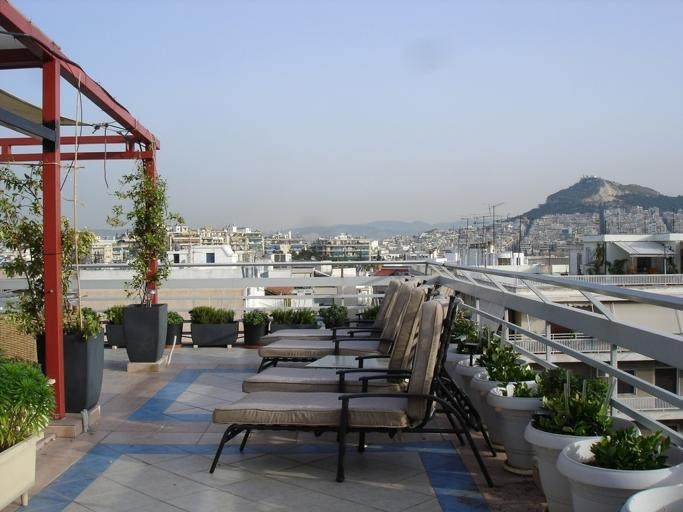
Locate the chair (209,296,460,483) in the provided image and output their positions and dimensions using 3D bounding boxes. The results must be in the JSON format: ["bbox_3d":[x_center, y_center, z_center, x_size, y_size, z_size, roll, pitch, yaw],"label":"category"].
[{"bbox_3d":[0.062,0.874,4.380,1.920,1.036,1.049,1,-6,2],"label":"chair"}]

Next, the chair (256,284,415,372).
[{"bbox_3d":[-0.042,0.551,5.090,1.563,0.563,1.391,-2,-6,22],"label":"chair"}]

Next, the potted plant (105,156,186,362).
[{"bbox_3d":[-2.539,0.048,7.577,0.830,2.621,0.781,0,3,-10],"label":"potted plant"}]

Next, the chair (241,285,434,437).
[{"bbox_3d":[-0.059,0.921,4.238,1.655,0.894,0.871,-4,2,6],"label":"chair"}]

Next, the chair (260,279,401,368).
[{"bbox_3d":[-0.043,0.715,5.906,1.615,0.771,0.858,1,-3,3],"label":"chair"}]
